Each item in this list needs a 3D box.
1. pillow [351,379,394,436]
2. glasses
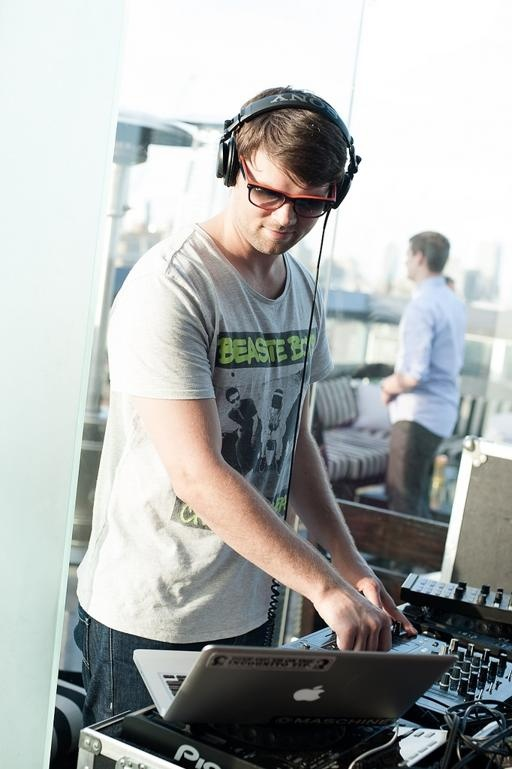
[{"bbox_3d":[0.450,0.082,2.664,0.193,0.218,0.086,5,11,14],"label":"pillow"},{"bbox_3d":[0.050,-0.277,1.029,0.135,0.039,0.138,12,5,-1],"label":"glasses"}]
